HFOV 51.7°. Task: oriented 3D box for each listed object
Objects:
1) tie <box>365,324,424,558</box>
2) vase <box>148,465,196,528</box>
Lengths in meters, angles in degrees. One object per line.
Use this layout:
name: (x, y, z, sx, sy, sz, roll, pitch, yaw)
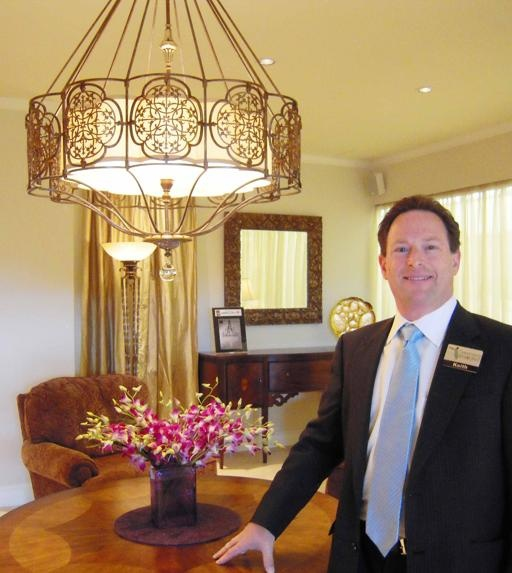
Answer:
tie: (0.299, 0.307, 1.095, 0.135, 0.458, 0.088, 4, -7, -39)
vase: (-0.233, 0.616, 1.640, 0.164, 0.216, 0.167, 1, -5, -19)
